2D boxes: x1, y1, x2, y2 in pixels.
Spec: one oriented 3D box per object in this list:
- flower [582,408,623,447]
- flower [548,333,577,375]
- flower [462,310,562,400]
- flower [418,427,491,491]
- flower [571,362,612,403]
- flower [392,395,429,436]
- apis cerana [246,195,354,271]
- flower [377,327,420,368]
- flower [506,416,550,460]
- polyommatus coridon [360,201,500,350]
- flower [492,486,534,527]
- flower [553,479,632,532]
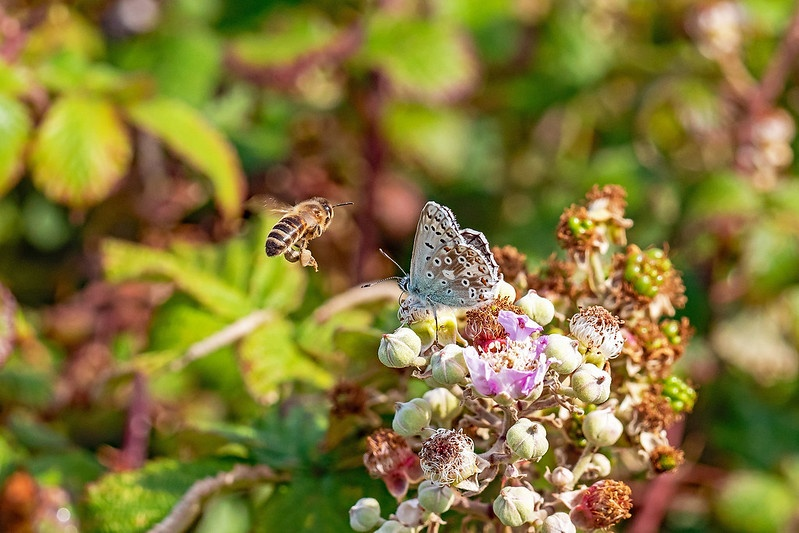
[{"bbox_3d":[0.688,0.537,3.135,0.115,0.122,0.152,6,95,-37],"label":"flower"},{"bbox_3d":[0.538,0.284,3.047,0.097,0.101,0.124,-16,86,-29],"label":"flower"},{"bbox_3d":[0.370,0.292,2.970,0.270,0.157,0.280,10,45,11],"label":"flower"},{"bbox_3d":[0.170,0.603,3.068,0.206,0.162,0.284,-11,23,16],"label":"flower"},{"bbox_3d":[0.631,0.385,3.056,0.113,0.121,0.126,-3,75,-15],"label":"flower"},{"bbox_3d":[0.048,0.504,3.082,0.094,0.135,0.082,-4,30,-10],"label":"flower"},{"bbox_3d":[-0.394,-0.142,3.587,0.300,0.155,0.298,-34,39,-32],"label":"apis cerana"},{"bbox_3d":[0.004,0.269,3.082,0.139,0.080,0.129,1,82,1],"label":"flower"},{"bbox_3d":[0.418,0.568,3.008,0.130,0.074,0.133,1,82,1],"label":"flower"},{"bbox_3d":[0.129,0.003,3.184,0.377,0.446,0.361,-6,72,1],"label":"polyommatus coridon"},{"bbox_3d":[0.377,0.791,3.018,0.124,0.035,0.121,2,82,1],"label":"flower"},{"bbox_3d":[0.648,0.785,3.092,0.167,0.208,0.123,-48,117,-35],"label":"flower"}]
